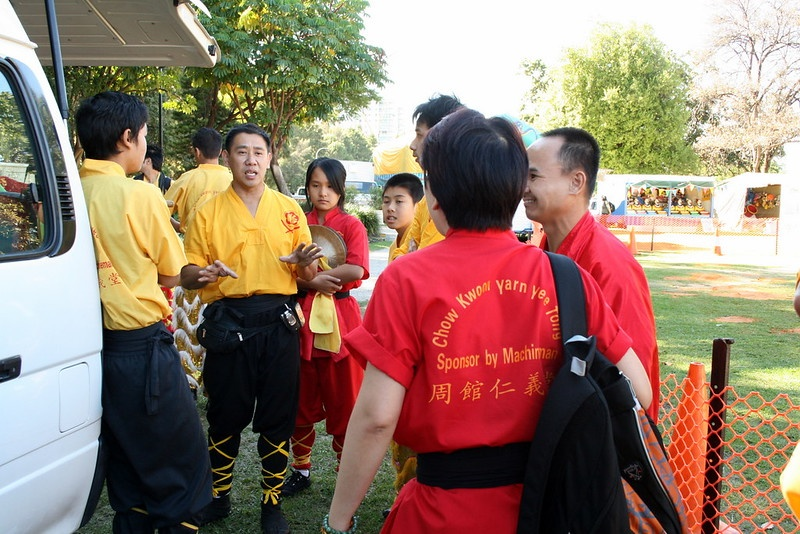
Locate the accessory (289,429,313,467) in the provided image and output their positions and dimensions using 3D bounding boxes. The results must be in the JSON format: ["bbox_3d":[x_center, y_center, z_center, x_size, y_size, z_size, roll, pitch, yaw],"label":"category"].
[{"bbox_3d":[-0.761,1.253,4.042,0.125,0.337,0.094,12,6,-2],"label":"accessory"}]
